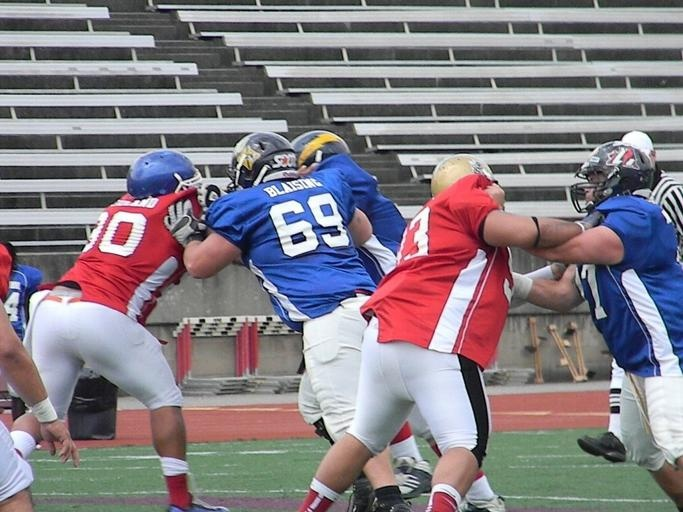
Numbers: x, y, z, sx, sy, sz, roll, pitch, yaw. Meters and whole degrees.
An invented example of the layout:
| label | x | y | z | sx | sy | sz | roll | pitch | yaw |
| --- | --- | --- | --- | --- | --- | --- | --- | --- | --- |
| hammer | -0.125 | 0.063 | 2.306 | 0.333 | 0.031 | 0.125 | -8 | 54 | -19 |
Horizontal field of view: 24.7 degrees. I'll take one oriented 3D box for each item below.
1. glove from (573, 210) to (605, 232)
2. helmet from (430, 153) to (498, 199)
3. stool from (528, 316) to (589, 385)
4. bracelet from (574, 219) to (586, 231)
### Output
| label | x | y | z | sx | sy | sz | roll | pitch | yaw |
| --- | --- | --- | --- | --- | --- | --- | --- | --- | --- |
| glove | 2.303 | -0.316 | 14.543 | 0.424 | 0.099 | 0.122 | -22 | 1 | -42 |
| helmet | 1.162 | -0.713 | 14.882 | 0.525 | 0.447 | 0.410 | 29 | -50 | -24 |
| stool | 3.130 | 1.371 | 22.379 | 0.970 | 0.923 | 0.302 | -5 | -8 | -7 |
| bracelet | 2.203 | -0.273 | 14.461 | 0.084 | 0.095 | 0.070 | -40 | -27 | -26 |
